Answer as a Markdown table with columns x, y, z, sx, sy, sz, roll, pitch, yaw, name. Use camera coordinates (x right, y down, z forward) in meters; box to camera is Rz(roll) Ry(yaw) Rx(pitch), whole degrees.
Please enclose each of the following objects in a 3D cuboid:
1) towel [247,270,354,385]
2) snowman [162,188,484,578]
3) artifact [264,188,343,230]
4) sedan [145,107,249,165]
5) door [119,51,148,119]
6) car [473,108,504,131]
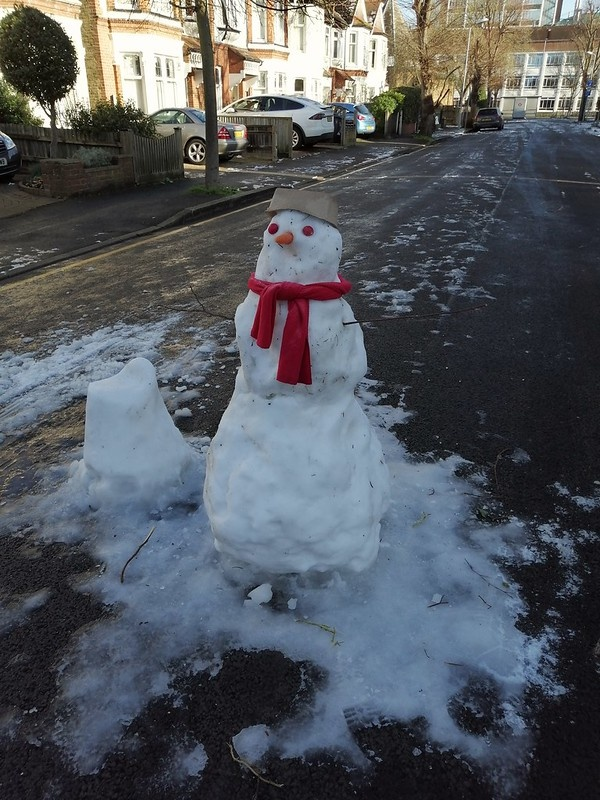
| x | y | z | sx | sy | sz | roll | pitch | yaw | name |
| --- | --- | --- | --- | --- | --- | --- | --- | --- | --- |
| -0.023 | -0.276 | 2.048 | 0.401 | 0.344 | 0.421 | 6 | 16 | 7 | towel |
| -0.032 | 0.008 | 2.131 | 0.812 | 1.563 | 0.520 | 3 | 23 | 8 | snowman |
| 0.006 | -0.705 | 1.988 | 0.262 | 0.136 | 0.240 | -1 | 22 | -3 | artifact |
| -3.330 | -8.770 | 17.991 | 2.840 | 1.737 | 2.312 | -6 | 23 | -15 | sedan |
| -7.368 | -13.944 | 23.720 | 0.971 | 2.117 | 0.754 | -10 | 25 | -22 | door |
| 16.495 | -24.642 | 48.254 | 1.729 | 1.325 | 3.608 | 7 | 48 | 16 | car |
